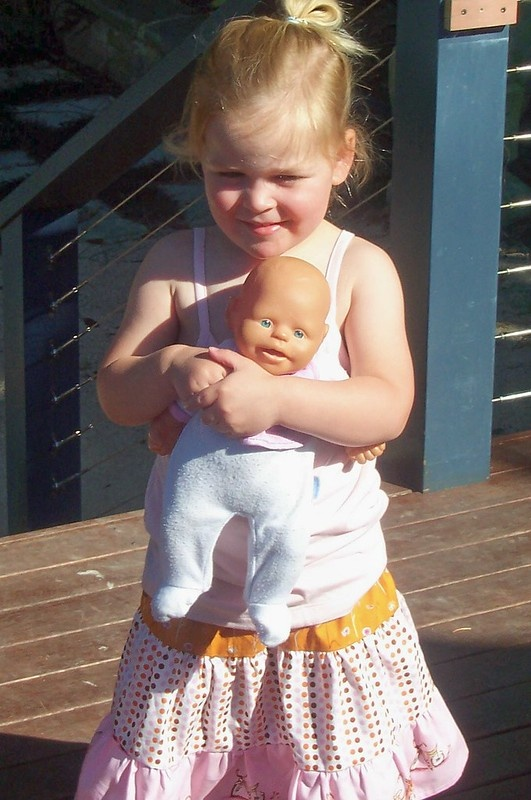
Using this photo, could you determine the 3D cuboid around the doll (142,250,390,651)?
[{"bbox_3d":[-0.004,0.084,1.072,0.287,0.506,0.197,0,11,6],"label":"doll"}]
